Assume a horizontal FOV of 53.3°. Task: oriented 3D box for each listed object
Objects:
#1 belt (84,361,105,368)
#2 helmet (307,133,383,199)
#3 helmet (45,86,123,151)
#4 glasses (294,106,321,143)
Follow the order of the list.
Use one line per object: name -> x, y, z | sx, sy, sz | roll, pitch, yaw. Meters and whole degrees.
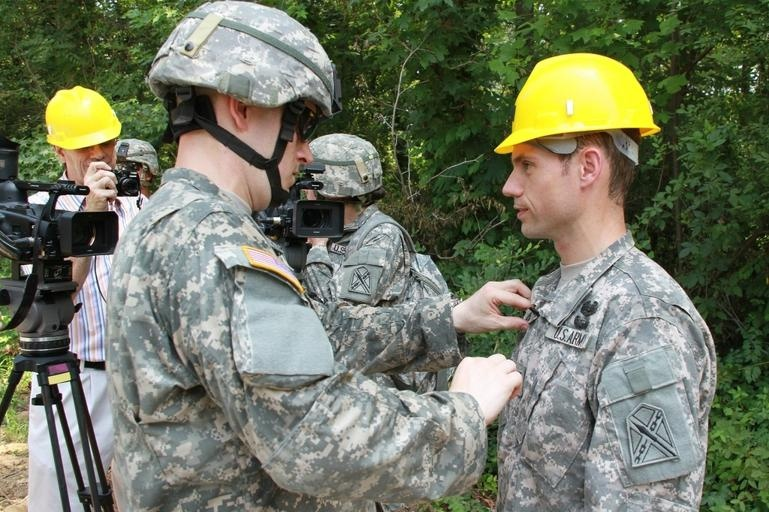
belt -> -2.211, 0.843, 5.841 | 0.148, 0.069, 0.028 | 0, 4, 0
helmet -> -0.320, -0.750, 6.470 | 0.553, 0.439, 0.575 | -1, 12, 2
helmet -> -2.568, -1.150, 6.444 | 0.538, 0.347, 0.641 | -22, 26, -36
glasses -> -0.400, -0.686, 4.039 | 0.130, 0.170, 0.171 | 14, 42, 13
